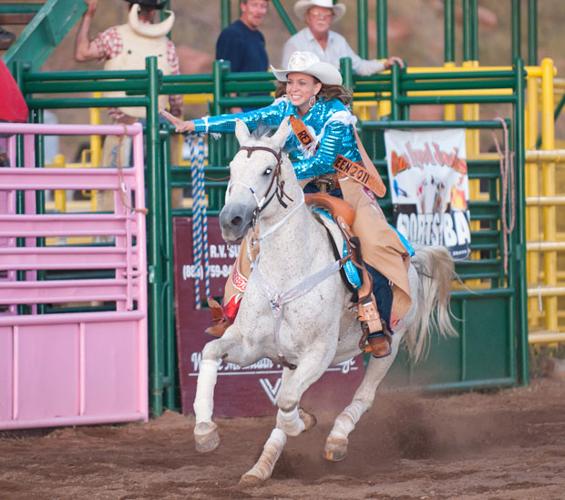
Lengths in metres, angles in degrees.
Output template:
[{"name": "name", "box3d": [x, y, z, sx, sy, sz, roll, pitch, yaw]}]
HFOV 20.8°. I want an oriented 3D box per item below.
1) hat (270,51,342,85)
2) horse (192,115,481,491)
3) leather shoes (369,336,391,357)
[{"name": "hat", "box3d": [0.192, -1.655, 13.929, 0.639, 0.270, 0.578, 1, 0, -24]}, {"name": "horse", "box3d": [0.676, 0.524, 14.756, 1.067, 3.469, 4.446, 6, 5, 34]}, {"name": "leather shoes", "box3d": [0.884, 0.878, 14.058, 0.151, 0.180, 0.201, -2, 8, 1]}]
